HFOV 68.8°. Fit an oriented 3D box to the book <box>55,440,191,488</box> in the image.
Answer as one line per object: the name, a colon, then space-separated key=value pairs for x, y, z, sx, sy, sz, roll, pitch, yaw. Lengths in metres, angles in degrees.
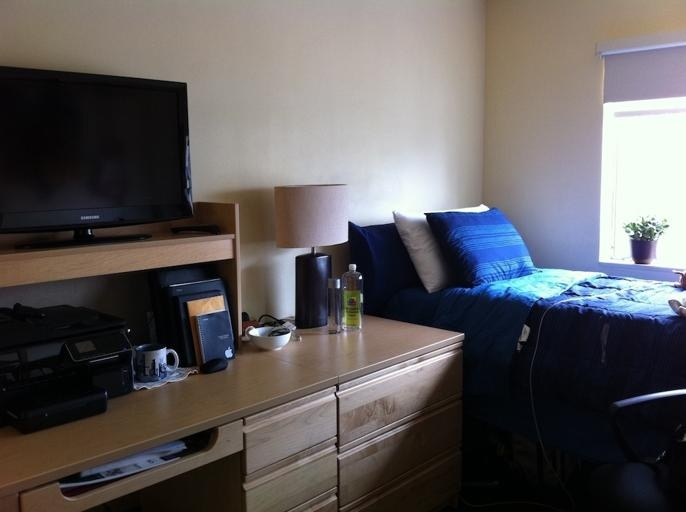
book: x=-0.662 y=0.608 z=1.470 sx=0.172 sy=0.041 sz=0.163 roll=-7 pitch=2 yaw=-42

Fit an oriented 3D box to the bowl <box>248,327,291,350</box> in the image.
bowl: x=-0.317 y=0.358 z=2.181 sx=0.115 sy=0.049 sz=0.114 roll=0 pitch=0 yaw=0

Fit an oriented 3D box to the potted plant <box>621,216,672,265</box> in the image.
potted plant: x=2.042 y=-0.074 z=3.404 sx=0.191 sy=0.282 sz=0.263 roll=8 pitch=-6 yaw=-28

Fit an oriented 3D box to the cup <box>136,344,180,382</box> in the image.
cup: x=-0.704 y=0.405 z=1.898 sx=0.092 sy=0.101 sz=0.147 roll=-4 pitch=-6 yaw=44

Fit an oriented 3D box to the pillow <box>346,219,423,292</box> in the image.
pillow: x=0.236 y=0.010 z=2.815 sx=0.123 sy=0.337 sz=0.367 roll=10 pitch=13 yaw=42

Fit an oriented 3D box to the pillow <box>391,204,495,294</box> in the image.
pillow: x=0.472 y=-0.023 z=2.890 sx=0.462 sy=0.410 sz=0.126 roll=-5 pitch=-16 yaw=-22

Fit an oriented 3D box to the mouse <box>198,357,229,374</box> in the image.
mouse: x=-0.501 y=0.425 z=1.960 sx=0.053 sy=0.028 sz=0.069 roll=-1 pitch=3 yaw=39
